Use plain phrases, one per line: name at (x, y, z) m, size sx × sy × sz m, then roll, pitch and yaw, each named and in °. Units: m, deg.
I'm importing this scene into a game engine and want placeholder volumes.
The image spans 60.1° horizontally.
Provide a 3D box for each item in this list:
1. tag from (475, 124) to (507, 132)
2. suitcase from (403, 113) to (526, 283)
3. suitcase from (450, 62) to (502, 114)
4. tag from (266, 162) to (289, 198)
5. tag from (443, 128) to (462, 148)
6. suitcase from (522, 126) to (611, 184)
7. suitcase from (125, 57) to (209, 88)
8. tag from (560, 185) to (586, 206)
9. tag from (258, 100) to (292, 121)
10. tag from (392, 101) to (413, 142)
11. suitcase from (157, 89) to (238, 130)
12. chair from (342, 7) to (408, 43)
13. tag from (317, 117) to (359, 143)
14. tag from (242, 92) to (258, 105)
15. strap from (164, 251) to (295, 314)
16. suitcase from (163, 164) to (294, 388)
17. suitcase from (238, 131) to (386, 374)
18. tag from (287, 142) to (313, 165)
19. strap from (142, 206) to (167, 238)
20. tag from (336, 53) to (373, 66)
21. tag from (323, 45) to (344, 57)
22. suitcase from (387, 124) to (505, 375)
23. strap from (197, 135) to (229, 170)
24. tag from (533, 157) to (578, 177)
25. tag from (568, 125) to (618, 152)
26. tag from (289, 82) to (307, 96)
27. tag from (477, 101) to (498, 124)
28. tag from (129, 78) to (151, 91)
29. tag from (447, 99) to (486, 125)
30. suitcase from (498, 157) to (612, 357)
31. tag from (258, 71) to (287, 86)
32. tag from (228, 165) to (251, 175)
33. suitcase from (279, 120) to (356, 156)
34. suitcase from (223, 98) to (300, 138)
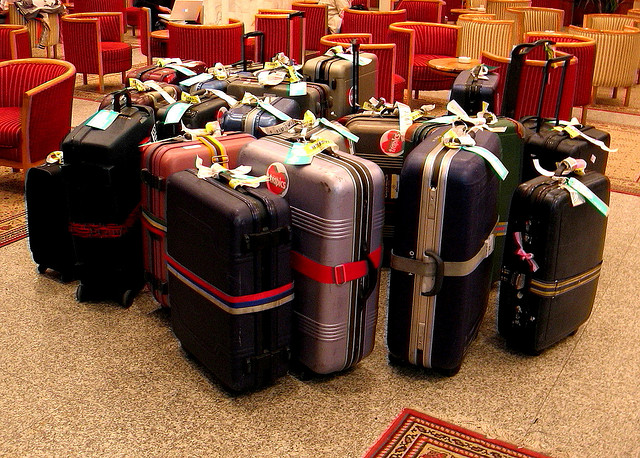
tag at (0.919, -0.542, 2.967) m, size 0.073 × 0.019 × 0.070 m, roll -3°, pitch 24°, yaw -26°
suitcase at (0.695, -0.148, 2.669) m, size 0.317 × 0.903 × 0.600 m, roll 16°, pitch 33°, yaw 31°
suitcase at (1.028, -0.916, 3.642) m, size 0.294 × 0.265 × 0.551 m, roll 5°, pitch 23°, yaw 14°
tag at (-0.190, -0.227, 2.663) m, size 0.129 × 0.189 × 0.063 m, roll 23°, pitch 33°, yaw 23°
tag at (0.618, -0.421, 2.583) m, size 0.080 × 0.063 × 0.120 m, roll -3°, pitch 22°, yaw -4°
suitcase at (1.446, -0.511, 3.295) m, size 0.441 × 0.437 × 0.454 m, roll 9°, pitch 23°, yaw 29°
suitcase at (-1.182, -1.195, 4.174) m, size 0.492 × 0.183 × 0.501 m, roll 13°, pitch 29°, yaw 29°
tag at (1.259, -0.163, 2.712) m, size 0.091 × 0.093 × 0.098 m, roll -22°, pitch 18°, yaw 0°
tag at (-0.268, -0.735, 3.308) m, size 0.094 × 0.027 × 0.314 m, roll -20°, pitch 40°, yaw -33°
tag at (0.501, -0.666, 3.310) m, size 0.064 × 0.239 × 0.206 m, roll -3°, pitch 10°, yaw -2°
suitcase at (-0.748, -0.759, 3.489) m, size 0.305 × 0.300 × 0.398 m, roll 17°, pitch 33°, yaw 24°
chair at (0.827, -3.250, 8.694) m, size 0.869 × 0.639 × 0.867 m, roll 6°, pitch 15°, yaw 17°
tag at (0.068, -0.527, 2.951) m, size 0.295 × 0.044 × 0.083 m, roll 34°, pitch 34°, yaw 17°
tag at (-0.455, -0.819, 3.480) m, size 0.085 × 0.091 × 0.030 m, roll 7°, pitch 10°, yaw 22°
strap at (-0.480, 0.272, 2.601) m, size 0.669 × 0.115 × 0.249 m, roll 8°, pitch 24°, yaw 21°
suitcase at (-0.400, 0.210, 2.557) m, size 0.373 × 0.878 × 0.796 m, roll -12°, pitch 26°, yaw -32°
suitcase at (-0.053, 0.132, 2.551) m, size 0.386 × 1.106 × 0.867 m, roll -16°, pitch 26°, yaw -32°
tag at (-0.087, -0.347, 2.563) m, size 0.115 × 0.166 × 0.055 m, roll 6°, pitch 1°, yaw 39°
strap at (-0.910, -0.033, 3.015) m, size 0.191 × 0.065 × 0.142 m, roll 30°, pitch 25°, yaw 31°
tag at (0.252, -1.278, 4.173) m, size 0.202 × 0.074 × 0.276 m, roll 13°, pitch 28°, yaw 21°
tag at (0.109, -1.356, 4.277) m, size 0.138 × 0.101 × 0.046 m, roll -16°, pitch -17°, yaw 6°
suitcase at (0.617, 0.122, 2.667) m, size 0.508 × 1.235 × 0.908 m, roll 11°, pitch 24°, yaw 25°
strap at (-0.561, -0.396, 2.893) m, size 0.070 × 0.164 × 0.174 m, roll -22°, pitch 33°, yaw -37°
tag at (1.237, -0.336, 2.873) m, size 0.137 × 0.049 × 0.137 m, roll -10°, pitch 26°, yaw -15°
tag at (1.584, -0.524, 3.208) m, size 0.253 × 0.147 × 0.162 m, roll 9°, pitch 24°, yaw 22°
tag at (-0.141, -0.937, 3.672) m, size 0.100 × 0.097 × 0.023 m, roll 2°, pitch -18°, yaw -10°
tag at (0.956, -0.665, 3.102) m, size 0.151 × 0.052 × 0.158 m, roll 11°, pitch 0°, yaw 16°
tag at (-1.189, -0.973, 3.635) m, size 0.100 × 0.034 × 0.101 m, roll 32°, pitch 23°, yaw 23°
tag at (0.769, -0.601, 2.913) m, size 0.159 × 0.072 × 0.164 m, roll 31°, pitch 8°, yaw 11°
suitcase at (1.243, 0.138, 2.937) m, size 0.598 × 0.993 × 0.358 m, roll -20°, pitch 29°, yaw -37°
tag at (-0.331, -1.024, 3.755) m, size 0.125 × 0.047 × 0.124 m, roll 8°, pitch 35°, yaw 5°
tag at (-0.382, -0.289, 2.698) m, size 0.053 × 0.025 × 0.073 m, roll 18°, pitch 23°, yaw 25°
suitcase at (0.006, -0.508, 2.972) m, size 0.302 × 0.210 × 0.224 m, roll 12°, pitch 25°, yaw 25°
suitcase at (-0.362, -0.706, 3.366) m, size 0.323 × 0.221 × 0.321 m, roll 8°, pitch 25°, yaw 16°
